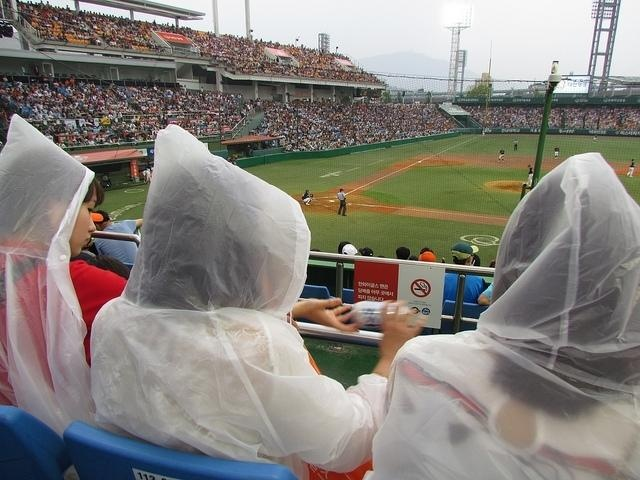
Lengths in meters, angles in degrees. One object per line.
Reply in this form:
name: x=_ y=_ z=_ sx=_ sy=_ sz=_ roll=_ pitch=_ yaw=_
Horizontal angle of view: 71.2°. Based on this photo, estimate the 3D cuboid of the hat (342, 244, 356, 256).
hat: x=0.431 y=0.136 z=6.530 sx=0.190 sy=0.068 sz=0.193 roll=14 pitch=24 yaw=40

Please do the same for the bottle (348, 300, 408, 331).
bottle: x=0.252 y=0.335 z=1.979 sx=0.174 sy=0.121 sz=0.110 roll=3 pitch=16 yaw=18

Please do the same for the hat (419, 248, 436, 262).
hat: x=1.654 y=0.225 z=6.948 sx=0.172 sy=0.238 sz=0.242 roll=3 pitch=27 yaw=-15
